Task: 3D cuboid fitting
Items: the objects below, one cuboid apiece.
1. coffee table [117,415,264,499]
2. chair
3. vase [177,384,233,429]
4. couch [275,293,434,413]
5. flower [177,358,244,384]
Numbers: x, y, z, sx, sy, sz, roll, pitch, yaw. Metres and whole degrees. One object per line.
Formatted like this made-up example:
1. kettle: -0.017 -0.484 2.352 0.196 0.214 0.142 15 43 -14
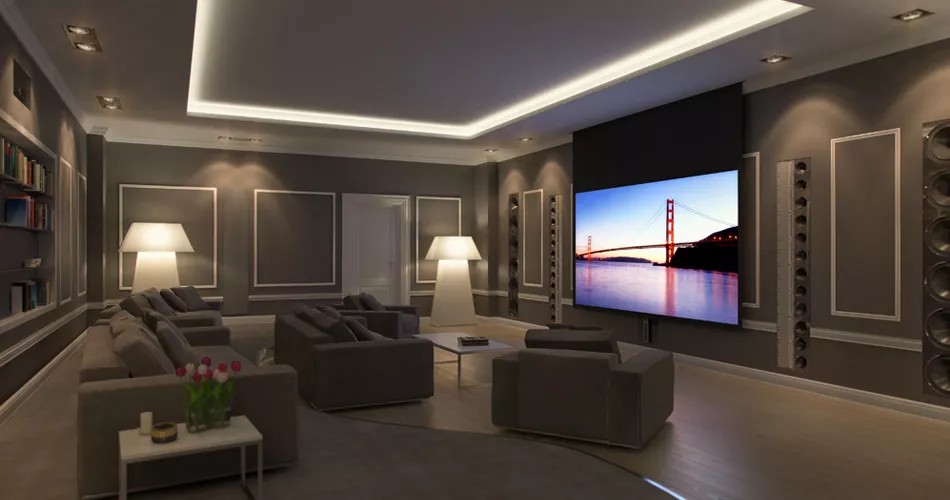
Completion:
1. coffee table: -2.741 1.965 4.932 0.946 0.432 0.539 0 5 -32
2. chair: 1.354 1.299 6.198 1.899 1.219 1.358 -1 -2 28
3. vase: -2.528 1.483 4.921 0.461 0.443 0.274 1 -4 -31
4. couch: -1.571 0.868 6.805 1.228 0.883 2.328 -1 1 -28
5. flower: -2.588 1.168 5.021 0.397 0.167 0.424 4 -4 -39
